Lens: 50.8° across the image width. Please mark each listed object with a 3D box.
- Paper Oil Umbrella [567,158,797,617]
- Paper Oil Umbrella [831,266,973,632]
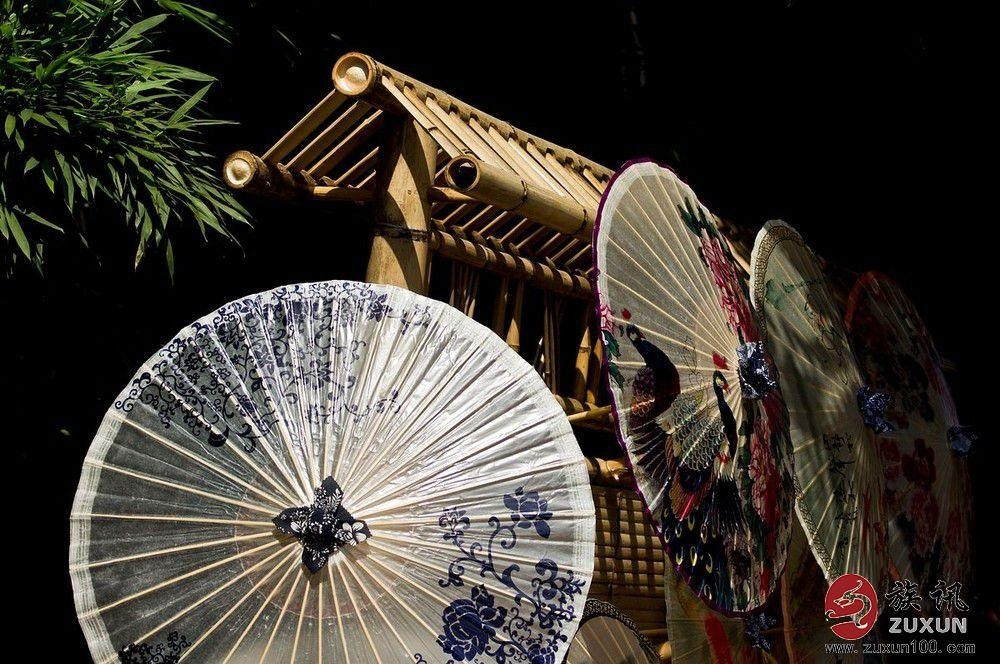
[{"bbox_3d":[1.012,0.393,5.925,2.185,0.821,2.089,63,22,-15],"label":"Paper Oil Umbrella"},{"bbox_3d":[2.976,0.739,7.620,0.524,2.264,2.097,-8,7,24],"label":"Paper Oil Umbrella"}]
